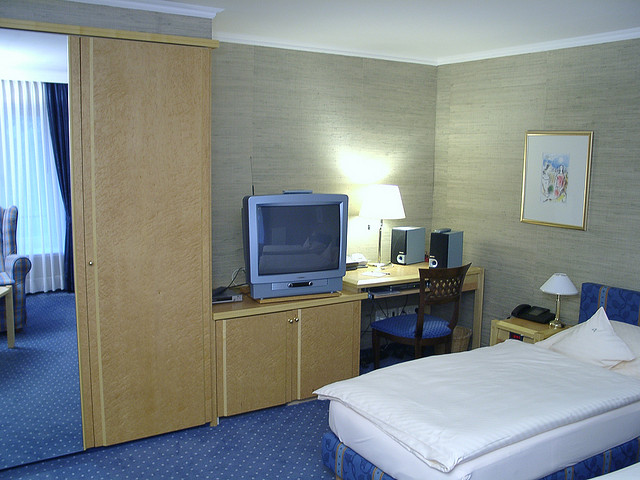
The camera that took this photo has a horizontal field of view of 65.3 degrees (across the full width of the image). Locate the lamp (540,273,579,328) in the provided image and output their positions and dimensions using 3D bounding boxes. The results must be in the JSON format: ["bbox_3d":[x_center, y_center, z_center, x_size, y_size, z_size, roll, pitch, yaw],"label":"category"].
[{"bbox_3d":[2.067,0.525,4.307,0.294,0.473,0.300,1,4,-3],"label":"lamp"}]

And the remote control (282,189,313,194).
[{"bbox_3d":[-0.191,-0.424,4.374,0.219,0.023,0.620,0,7,1],"label":"remote control"}]

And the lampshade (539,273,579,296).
[{"bbox_3d":[2.032,0.384,4.199,0.208,0.118,0.214,-2,5,-11],"label":"lampshade"}]

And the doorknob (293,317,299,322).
[{"bbox_3d":[-0.200,0.654,4.091,0.026,0.017,0.045,-2,9,-12],"label":"doorknob"}]

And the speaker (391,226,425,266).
[{"bbox_3d":[0.914,0.054,5.133,0.305,0.366,0.217,-7,10,-40],"label":"speaker"}]

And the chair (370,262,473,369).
[{"bbox_3d":[0.955,0.779,4.657,0.654,1.241,0.737,-4,7,-35],"label":"chair"}]

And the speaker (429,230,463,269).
[{"bbox_3d":[1.284,0.092,5.030,0.366,0.347,0.253,0,8,3],"label":"speaker"}]

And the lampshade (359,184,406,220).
[{"bbox_3d":[0.614,-0.416,4.829,0.355,0.253,0.353,-12,16,-41],"label":"lampshade"}]

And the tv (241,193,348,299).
[{"bbox_3d":[-0.208,-0.004,4.352,0.826,0.887,0.489,-4,17,-7],"label":"tv"}]
